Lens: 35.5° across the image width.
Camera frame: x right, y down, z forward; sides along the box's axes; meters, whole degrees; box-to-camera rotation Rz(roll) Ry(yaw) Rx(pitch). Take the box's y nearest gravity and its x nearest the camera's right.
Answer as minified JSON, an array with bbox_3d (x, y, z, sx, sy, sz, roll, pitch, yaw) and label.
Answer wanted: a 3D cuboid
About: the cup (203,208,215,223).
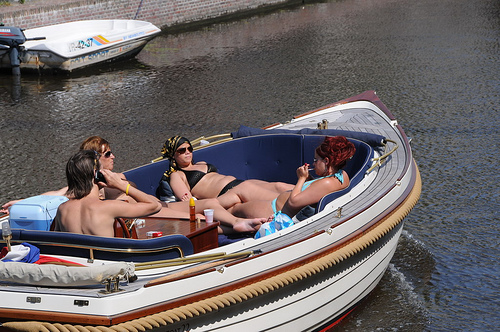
[{"bbox_3d":[-0.487,0.605,9.501,0.154,0.141,0.143,2,7,0],"label":"cup"}]

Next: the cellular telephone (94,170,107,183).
[{"bbox_3d":[-1.751,0.128,9.068,0.105,0.136,0.055,-8,26,16],"label":"cellular telephone"}]

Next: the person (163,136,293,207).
[{"bbox_3d":[-0.379,0.183,10.427,1.376,0.538,1.000,5,31,19],"label":"person"}]

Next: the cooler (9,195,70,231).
[{"bbox_3d":[-2.509,0.465,9.187,0.448,0.369,0.555,2,7,18],"label":"cooler"}]

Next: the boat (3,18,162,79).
[{"bbox_3d":[-4.307,-3.084,19.970,2.060,1.424,3.569,10,23,36],"label":"boat"}]

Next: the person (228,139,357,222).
[{"bbox_3d":[0.374,0.189,10.386,2.087,1.210,1.066,5,10,26],"label":"person"}]
